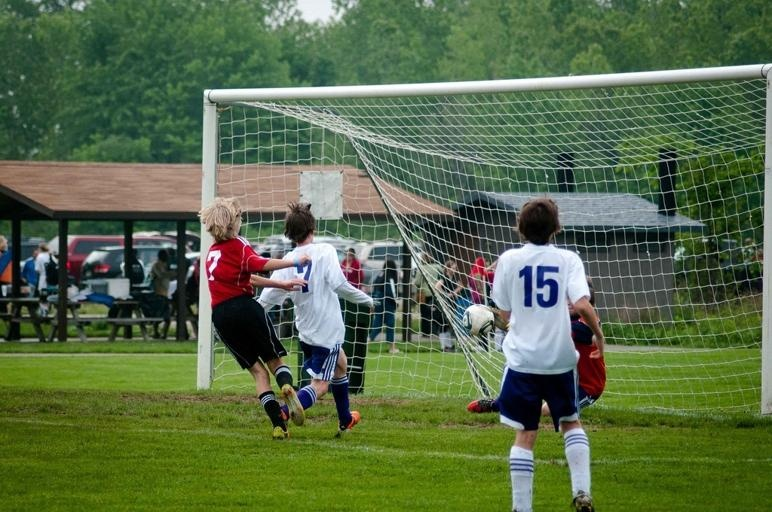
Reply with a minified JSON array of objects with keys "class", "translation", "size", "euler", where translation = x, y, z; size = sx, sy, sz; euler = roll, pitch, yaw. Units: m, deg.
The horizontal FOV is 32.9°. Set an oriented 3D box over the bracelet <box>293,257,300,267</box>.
[{"class":"bracelet","translation":[-2.241,0.133,32.895],"size":[0.127,0.163,0.169],"euler":[-6,-8,-3]}]
